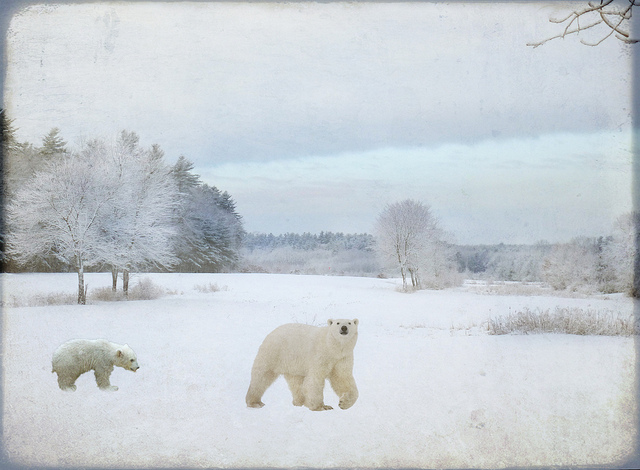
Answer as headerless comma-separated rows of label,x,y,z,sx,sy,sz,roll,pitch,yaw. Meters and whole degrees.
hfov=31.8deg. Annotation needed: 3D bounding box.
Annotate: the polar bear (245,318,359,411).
polar bear,-0.449,3.203,28.300,2.966,2.386,1.751,0,-7,19
